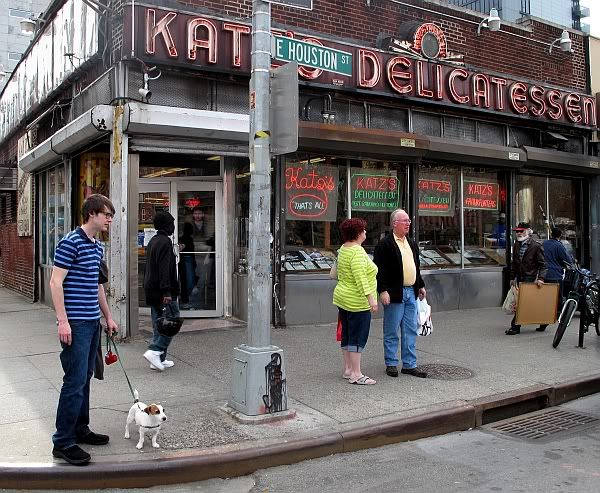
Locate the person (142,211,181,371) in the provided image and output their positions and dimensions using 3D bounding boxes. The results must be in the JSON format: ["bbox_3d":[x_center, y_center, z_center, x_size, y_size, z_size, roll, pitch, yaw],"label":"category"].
[{"bbox_3d":[-1.826,0.600,7.907,0.454,2.072,0.687,1,8,-14],"label":"person"}]

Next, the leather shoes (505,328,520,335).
[{"bbox_3d":[3.671,1.459,10.313,0.212,0.091,0.114,4,-5,-36],"label":"leather shoes"}]

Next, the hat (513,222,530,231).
[{"bbox_3d":[3.952,-0.356,10.526,0.277,0.119,0.176,-10,4,-43],"label":"hat"}]

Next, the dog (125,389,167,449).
[{"bbox_3d":[-1.489,1.648,5.711,0.245,0.474,0.678,6,-1,-37],"label":"dog"}]

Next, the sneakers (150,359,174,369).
[{"bbox_3d":[-1.852,1.572,7.993,0.325,0.141,0.120,-1,11,-24],"label":"sneakers"}]

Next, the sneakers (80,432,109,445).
[{"bbox_3d":[-1.942,1.828,5.659,0.284,0.116,0.113,0,5,-6],"label":"sneakers"}]

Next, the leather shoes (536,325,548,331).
[{"bbox_3d":[4.337,1.461,10.698,0.188,0.146,0.113,-6,0,29],"label":"leather shoes"}]

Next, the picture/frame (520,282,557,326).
[{"bbox_3d":[4.029,0.957,10.105,0.694,0.607,0.119,-2,9,-13],"label":"picture/frame"}]

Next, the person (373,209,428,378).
[{"bbox_3d":[1.339,0.616,7.876,0.757,2.163,0.607,3,7,7],"label":"person"}]

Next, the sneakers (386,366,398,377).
[{"bbox_3d":[1.212,1.622,7.780,0.138,0.116,0.146,2,8,-1],"label":"sneakers"}]

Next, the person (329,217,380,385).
[{"bbox_3d":[0.723,0.683,7.430,0.394,2.043,0.739,-4,10,-42],"label":"person"}]

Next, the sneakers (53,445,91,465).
[{"bbox_3d":[-2.051,1.852,5.367,0.324,0.123,0.131,9,12,20],"label":"sneakers"}]

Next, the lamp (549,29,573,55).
[{"bbox_3d":[6.470,-5.130,14.829,0.496,0.689,1.248,5,8,21],"label":"lamp"}]

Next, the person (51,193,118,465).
[{"bbox_3d":[-2.021,0.707,5.514,0.489,2.339,0.801,2,7,-2],"label":"person"}]

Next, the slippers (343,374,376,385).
[{"bbox_3d":[0.765,1.668,7.458,0.283,0.089,0.150,-1,3,12],"label":"slippers"}]

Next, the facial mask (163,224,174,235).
[{"bbox_3d":[-1.783,-0.235,8.076,0.104,0.139,0.139,20,25,33],"label":"facial mask"}]

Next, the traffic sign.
[{"bbox_3d":[0.127,-2.289,7.112,0.416,0.334,1.143,9,10,39],"label":"traffic sign"}]

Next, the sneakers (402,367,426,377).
[{"bbox_3d":[1.490,1.626,7.834,0.330,0.136,0.113,0,0,34],"label":"sneakers"}]

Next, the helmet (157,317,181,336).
[{"bbox_3d":[-1.676,1.027,7.630,0.321,0.291,0.239,0,8,-15],"label":"helmet"}]
